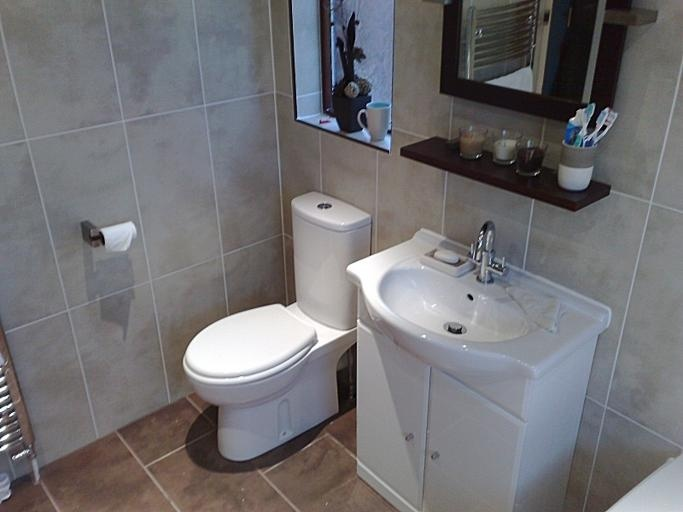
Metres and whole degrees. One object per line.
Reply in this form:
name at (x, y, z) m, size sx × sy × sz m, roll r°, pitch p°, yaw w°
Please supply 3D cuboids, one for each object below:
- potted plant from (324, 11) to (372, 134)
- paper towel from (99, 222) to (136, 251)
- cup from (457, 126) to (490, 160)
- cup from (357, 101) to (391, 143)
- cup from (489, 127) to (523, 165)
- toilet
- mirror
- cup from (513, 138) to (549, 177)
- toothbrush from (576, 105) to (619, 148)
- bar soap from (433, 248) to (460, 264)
potted plant at (0.042, -0.814, 2.421) m, size 0.139 × 0.494 × 0.169 m, roll -19°, pitch 33°, yaw -31°
paper towel at (-0.966, -0.083, 2.354) m, size 0.073 × 0.108 × 0.154 m, roll 20°, pitch 35°, yaw 34°
cup at (0.457, -0.413, 1.958) m, size 0.101 × 0.104 × 0.113 m, roll -9°, pitch 23°, yaw -24°
cup at (0.146, -0.603, 2.406) m, size 0.099 × 0.160 × 0.212 m, roll -22°, pitch 35°, yaw -34°
cup at (0.580, -0.385, 1.963) m, size 0.106 × 0.128 × 0.107 m, roll -1°, pitch 29°, yaw 1°
toilet at (-0.322, 0.364, 2.570) m, size 0.994 × 1.221 × 0.597 m, roll -19°, pitch 32°, yaw -38°
mirror at (0.562, -0.670, 1.835) m, size 0.544 × 0.342 × 0.027 m, roll 23°, pitch 36°, yaw 36°
cup at (0.649, -0.349, 1.862) m, size 0.100 × 0.107 × 0.144 m, roll 9°, pitch 30°, yaw 18°
toothbrush at (0.779, -0.395, 1.663) m, size 0.098 × 0.114 × 0.041 m, roll -3°, pitch 28°, yaw -4°
bar soap at (0.408, -0.002, 2.110) m, size 0.104 × 0.032 × 0.080 m, roll 9°, pitch 31°, yaw 16°
